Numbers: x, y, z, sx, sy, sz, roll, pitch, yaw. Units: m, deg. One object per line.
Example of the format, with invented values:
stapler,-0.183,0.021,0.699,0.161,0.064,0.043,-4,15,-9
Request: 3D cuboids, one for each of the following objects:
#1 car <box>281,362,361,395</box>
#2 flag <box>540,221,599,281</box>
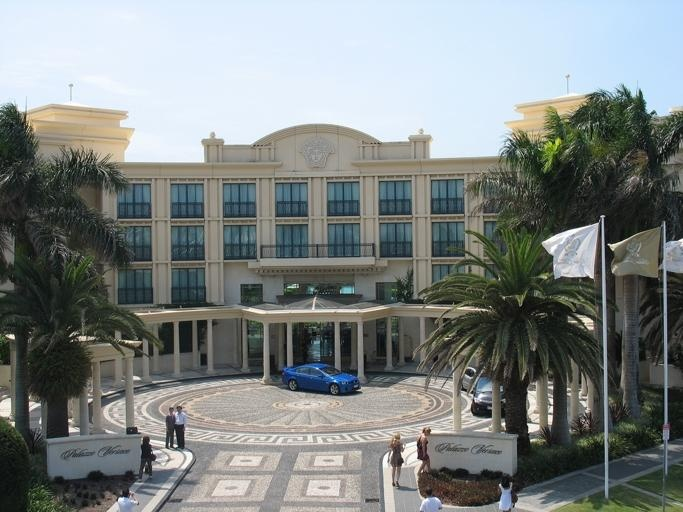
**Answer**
car,-1.242,7.129,51.974,4.295,1.692,1.387,-6,-5,31
flag,9.081,-0.158,35.423,1.955,2.051,0.749,-3,-4,12
